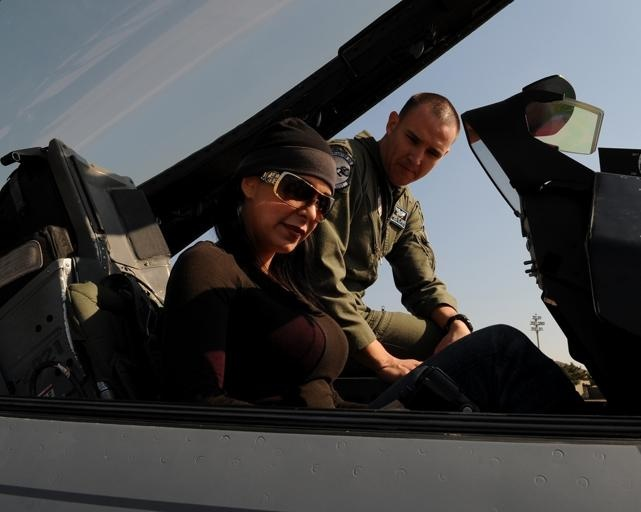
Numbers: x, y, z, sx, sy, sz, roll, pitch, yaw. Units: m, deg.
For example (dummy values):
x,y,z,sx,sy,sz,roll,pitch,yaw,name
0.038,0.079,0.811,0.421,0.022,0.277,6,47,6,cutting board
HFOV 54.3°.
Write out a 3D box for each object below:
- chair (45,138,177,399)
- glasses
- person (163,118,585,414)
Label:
x,y,z,sx,sy,sz,roll,pitch,yaw,name
-0.580,0.049,1.788,0.229,0.657,0.438,-32,-26,21,chair
-0.058,-0.159,1.537,0.102,0.046,0.127,33,5,-40,glasses
0.242,0.013,2.200,1.176,1.255,0.891,9,2,28,person
